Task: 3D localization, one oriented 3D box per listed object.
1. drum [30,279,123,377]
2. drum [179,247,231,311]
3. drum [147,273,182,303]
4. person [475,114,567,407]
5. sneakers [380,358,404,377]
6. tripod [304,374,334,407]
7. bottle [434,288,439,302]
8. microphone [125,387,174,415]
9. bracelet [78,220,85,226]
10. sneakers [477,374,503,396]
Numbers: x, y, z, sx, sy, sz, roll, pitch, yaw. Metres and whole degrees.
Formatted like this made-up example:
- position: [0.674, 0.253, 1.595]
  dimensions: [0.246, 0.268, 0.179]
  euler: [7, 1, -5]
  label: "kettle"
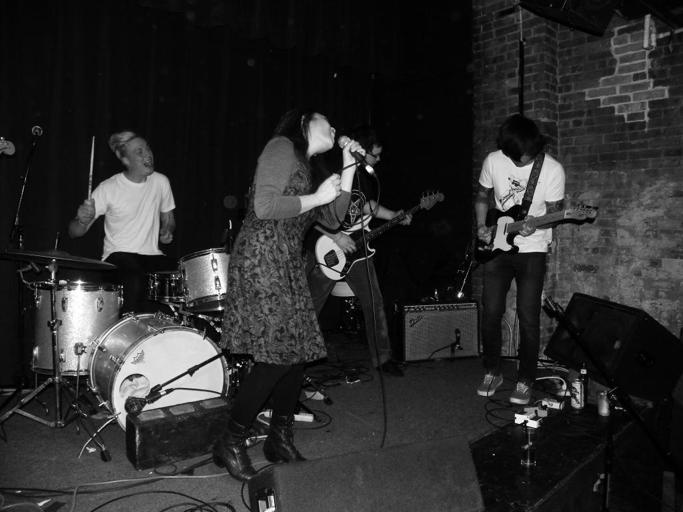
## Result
- position: [-1.775, 0.506, 4.181]
  dimensions: [0.585, 0.622, 0.603]
  euler: [5, 2, 3]
  label: "drum"
- position: [-0.905, 0.189, 4.281]
  dimensions: [0.434, 0.443, 0.449]
  euler: [-5, -6, 16]
  label: "drum"
- position: [-1.253, 0.203, 4.145]
  dimensions: [0.218, 0.147, 0.226]
  euler: [1, 2, 0]
  label: "drum"
- position: [1.392, 0.014, 4.588]
  dimensions: [0.646, 2.192, 0.671]
  euler: [1, 9, 13]
  label: "person"
- position: [0.463, 1.009, 5.246]
  dimensions: [0.124, 0.048, 0.355]
  euler: [2, 10, -8]
  label: "sneakers"
- position: [-0.188, 1.065, 4.646]
  dimensions: [0.243, 0.252, 0.295]
  euler: [-6, -13, 14]
  label: "tripod"
- position: [0.960, 0.397, 5.880]
  dimensions: [0.054, 0.115, 0.076]
  euler: [-1, 19, -2]
  label: "bottle"
- position: [-1.213, 0.922, 3.722]
  dimensions: [0.298, 0.105, 0.089]
  euler: [-13, 0, -43]
  label: "microphone"
- position: [-1.928, -0.238, 4.321]
  dimensions: [0.043, 0.035, 0.045]
  euler: [6, 3, 40]
  label: "bracelet"
- position: [1.195, 1.030, 4.697]
  dimensions: [0.104, 0.125, 0.286]
  euler: [22, 8, 33]
  label: "sneakers"
